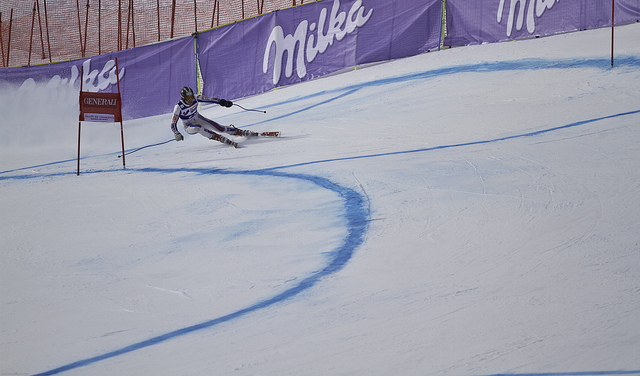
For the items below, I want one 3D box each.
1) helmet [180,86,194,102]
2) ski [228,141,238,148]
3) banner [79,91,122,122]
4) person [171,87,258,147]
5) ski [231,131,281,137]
[{"bbox_3d":[-2.439,-1.715,14.031,0.195,0.265,0.304,-7,12,-13],"label":"helmet"},{"bbox_3d":[-1.573,-0.796,13.915,0.061,0.110,0.184,-15,16,-40],"label":"ski"},{"bbox_3d":[-3.712,-1.364,12.960,0.750,0.502,0.279,1,-1,-13],"label":"banner"},{"bbox_3d":[-1.953,-1.293,14.056,1.596,0.653,1.101,21,44,31],"label":"person"},{"bbox_3d":[-1.148,-1.007,14.226,0.953,0.109,0.242,1,11,19],"label":"ski"}]
